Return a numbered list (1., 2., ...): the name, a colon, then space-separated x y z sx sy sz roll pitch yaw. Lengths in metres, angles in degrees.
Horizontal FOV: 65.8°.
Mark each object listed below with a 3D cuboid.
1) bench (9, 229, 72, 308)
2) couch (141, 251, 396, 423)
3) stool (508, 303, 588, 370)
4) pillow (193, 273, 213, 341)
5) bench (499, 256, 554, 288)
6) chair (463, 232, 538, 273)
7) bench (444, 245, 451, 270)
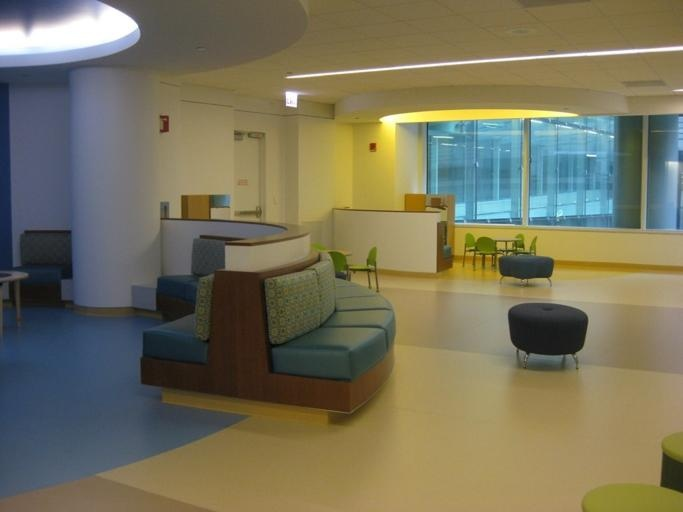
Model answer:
1. bench: -5.551 0.209 9.788 0.845 1.172 0.848 -2 12 -34
2. couch: -0.622 0.956 5.534 1.567 0.971 2.077 3 6 15
3. stool: 2.599 0.911 6.743 0.715 0.645 0.789 -2 12 2
4. pillow: -1.432 0.546 5.464 0.188 0.657 0.528 1 10 -4
5. bench: 4.068 0.244 11.745 0.727 0.545 0.772 2 3 44
6. chair: 4.263 -0.195 14.106 1.190 0.683 1.302 1 6 13
7. bench: 2.654 0.013 13.282 0.137 0.543 0.640 3 7 26
